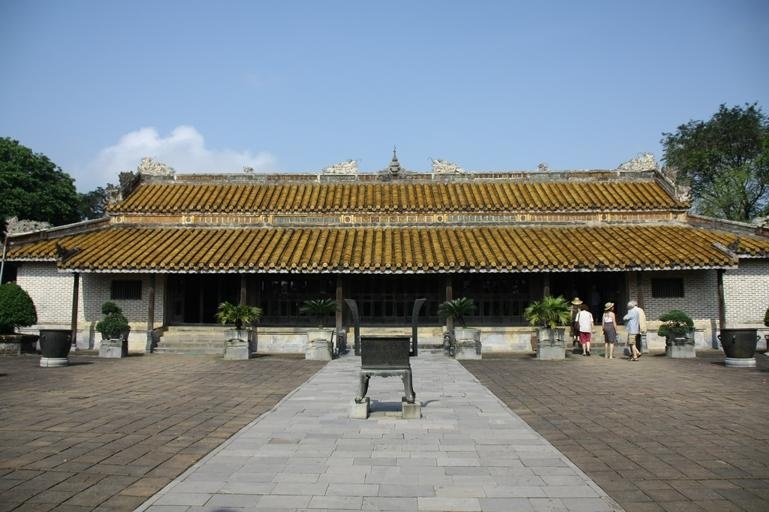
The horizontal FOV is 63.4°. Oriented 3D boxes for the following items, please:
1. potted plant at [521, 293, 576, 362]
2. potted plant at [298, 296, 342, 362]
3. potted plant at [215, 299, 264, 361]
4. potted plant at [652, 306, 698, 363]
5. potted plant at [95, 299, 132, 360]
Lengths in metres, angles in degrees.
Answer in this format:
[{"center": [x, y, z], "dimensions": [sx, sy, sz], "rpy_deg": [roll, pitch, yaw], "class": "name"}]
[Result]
[{"center": [5.680, 2.515, 21.597], "dimensions": [2.579, 2.335, 2.077], "rpy_deg": [0, -7, -1], "class": "potted plant"}, {"center": [-2.218, 2.644, 22.059], "dimensions": [2.279, 2.366, 2.008], "rpy_deg": [-1, -11, 0], "class": "potted plant"}, {"center": [-5.039, 2.623, 22.032], "dimensions": [2.310, 1.993, 2.030], "rpy_deg": [0, -3, 5], "class": "potted plant"}, {"center": [10.127, 2.707, 21.412], "dimensions": [1.136, 1.489, 1.116], "rpy_deg": [2, 5, 13], "class": "potted plant"}, {"center": [-9.424, 2.578, 21.506], "dimensions": [0.898, 1.846, 0.934], "rpy_deg": [0, 5, -17], "class": "potted plant"}]
